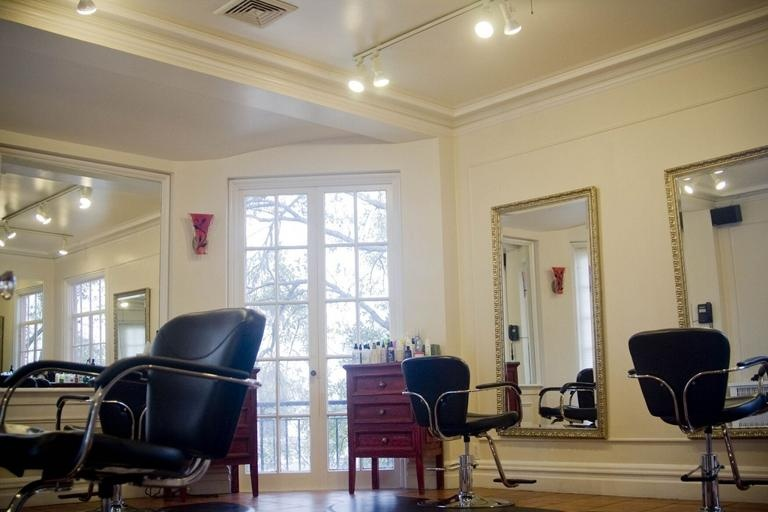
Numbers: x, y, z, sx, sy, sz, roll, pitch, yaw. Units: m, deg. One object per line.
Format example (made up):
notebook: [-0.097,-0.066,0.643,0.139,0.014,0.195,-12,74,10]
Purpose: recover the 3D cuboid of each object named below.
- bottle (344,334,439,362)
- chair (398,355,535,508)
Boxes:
bottle: [0.125,0.974,5.868,0.915,0.257,0.192,-3,-11,5]
chair: [0.535,1.577,5.167,1.331,1.502,1.172,11,-15,-37]
